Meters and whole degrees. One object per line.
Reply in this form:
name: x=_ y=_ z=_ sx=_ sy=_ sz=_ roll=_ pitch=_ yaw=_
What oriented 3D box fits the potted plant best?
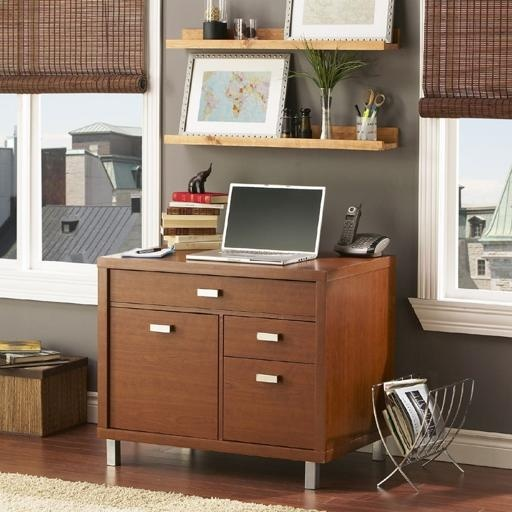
potted plant: x=0.297 y=-0.670 z=2.428 sx=0.220 sy=0.420 sz=0.188 roll=-2 pitch=-5 yaw=41

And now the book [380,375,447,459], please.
book: x=0.554 y=0.577 z=2.156 sx=0.286 sy=0.260 sz=0.103 roll=-20 pitch=-2 yaw=-35

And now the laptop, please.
laptop: x=0.012 y=-0.122 z=2.243 sx=0.510 sy=0.264 sz=0.367 roll=2 pitch=3 yaw=29

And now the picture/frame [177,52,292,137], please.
picture/frame: x=-0.090 y=-0.702 z=2.630 sx=0.574 sy=0.352 sz=0.013 roll=-11 pitch=27 yaw=-40

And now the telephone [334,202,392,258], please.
telephone: x=0.398 y=-0.094 z=2.261 sx=0.219 sy=0.160 sz=0.183 roll=6 pitch=16 yaw=16

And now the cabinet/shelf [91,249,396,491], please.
cabinet/shelf: x=-0.076 y=0.344 z=2.475 sx=1.343 sy=0.890 sz=0.839 roll=-1 pitch=-1 yaw=23
